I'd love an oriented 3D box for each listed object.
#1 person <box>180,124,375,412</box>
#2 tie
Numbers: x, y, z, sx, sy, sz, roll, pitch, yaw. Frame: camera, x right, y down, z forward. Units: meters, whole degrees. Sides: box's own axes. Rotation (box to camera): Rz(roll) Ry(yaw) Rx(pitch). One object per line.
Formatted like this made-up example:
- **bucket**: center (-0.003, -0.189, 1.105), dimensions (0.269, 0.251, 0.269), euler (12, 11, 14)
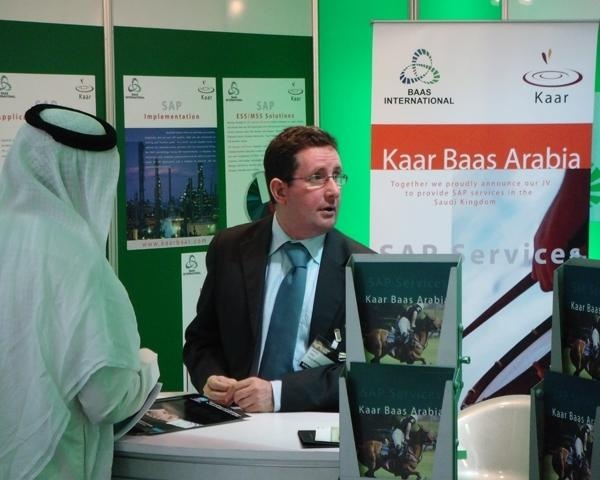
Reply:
- **person**: center (-0.108, 0.082, 3.158), dimensions (0.839, 1.198, 0.655), euler (2, 2, 5)
- **tie**: center (-0.063, 0.306, 3.133), dimensions (0.137, 0.693, 0.094), euler (6, 25, -5)
